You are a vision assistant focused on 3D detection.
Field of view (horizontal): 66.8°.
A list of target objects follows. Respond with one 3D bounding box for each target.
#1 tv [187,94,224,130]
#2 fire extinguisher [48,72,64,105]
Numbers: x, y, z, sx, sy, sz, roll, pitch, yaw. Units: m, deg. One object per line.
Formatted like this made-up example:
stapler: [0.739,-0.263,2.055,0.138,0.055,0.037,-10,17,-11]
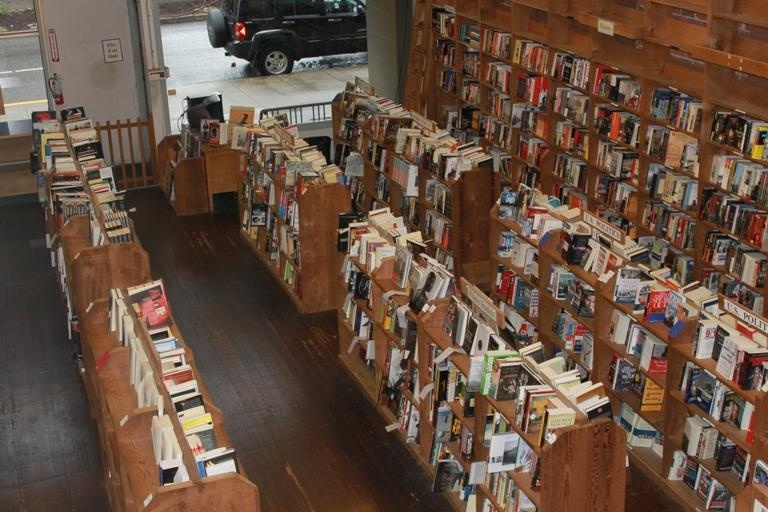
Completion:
tv: [-3.513,-2.824,11.521,0.795,0.813,0.424,-1,11,-11]
fire extinguisher: [-6.638,-3.373,11.872,0.271,0.606,0.483,-14,26,-26]
